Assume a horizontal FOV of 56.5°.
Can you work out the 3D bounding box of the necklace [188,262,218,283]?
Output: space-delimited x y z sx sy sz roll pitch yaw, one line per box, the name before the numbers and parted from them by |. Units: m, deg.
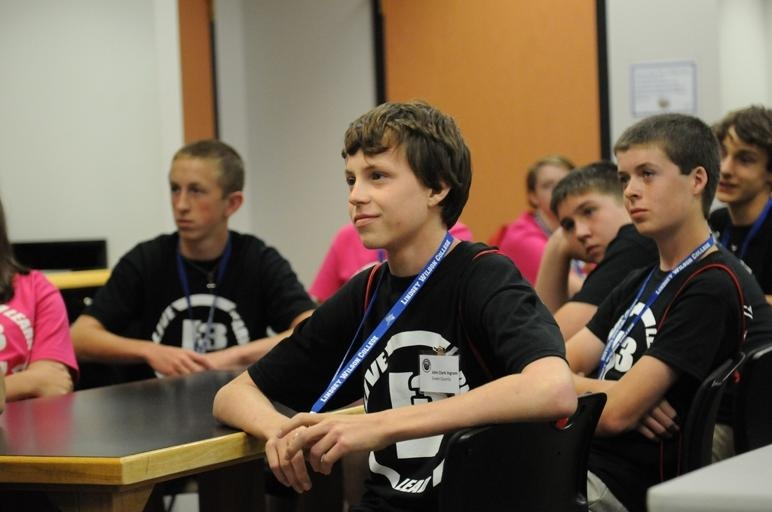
necklace | -0.768 0.062 3.020 0.104 0.082 0.055 38 -27 1
